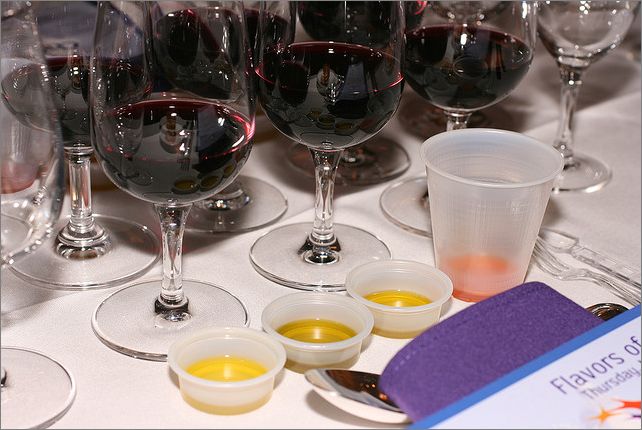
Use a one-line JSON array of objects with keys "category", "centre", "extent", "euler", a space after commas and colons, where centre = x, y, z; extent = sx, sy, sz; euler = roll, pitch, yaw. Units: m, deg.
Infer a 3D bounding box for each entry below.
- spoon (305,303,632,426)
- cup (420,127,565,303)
[{"category": "spoon", "centre": [0.143, 0.148, 0.512], "extent": [0.334, 0.054, 0.061], "euler": [-6, 30, -28]}, {"category": "cup", "centre": [0.215, -0.011, 0.759], "extent": [0.217, 0.205, 0.211], "euler": [0, 26, 0]}]
